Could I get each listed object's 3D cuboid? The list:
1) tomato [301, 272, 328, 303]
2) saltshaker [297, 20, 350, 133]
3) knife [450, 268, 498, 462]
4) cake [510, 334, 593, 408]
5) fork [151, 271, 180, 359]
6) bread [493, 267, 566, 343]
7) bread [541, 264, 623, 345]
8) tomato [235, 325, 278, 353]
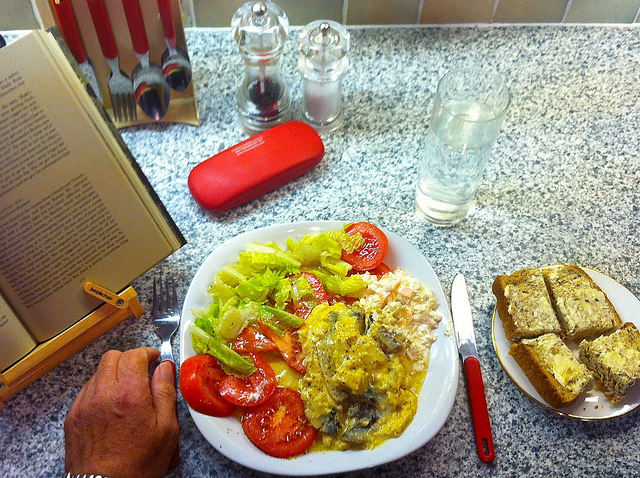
[{"bbox_3d":[-0.007,0.121,1.191,0.044,0.018,0.080,-16,77,-16],"label":"tomato"},{"bbox_3d":[0.008,-0.511,1.444,0.153,0.303,0.174,2,48,1],"label":"saltshaker"},{"bbox_3d":[0.368,0.299,1.181,0.062,0.027,0.465,2,63,-11],"label":"knife"},{"bbox_3d":[0.551,0.301,1.133,0.109,0.071,0.167,-26,56,-21],"label":"cake"},{"bbox_3d":[-0.395,0.181,1.212,0.041,0.044,0.324,-3,65,-7],"label":"fork"},{"bbox_3d":[0.523,0.164,1.192,0.150,0.045,0.168,-11,66,-7],"label":"bread"},{"bbox_3d":[0.650,0.167,1.172,0.148,0.067,0.202,-9,65,8],"label":"bread"},{"bbox_3d":[-0.150,0.242,1.131,0.099,0.045,0.062,-4,50,-4],"label":"tomato"}]
